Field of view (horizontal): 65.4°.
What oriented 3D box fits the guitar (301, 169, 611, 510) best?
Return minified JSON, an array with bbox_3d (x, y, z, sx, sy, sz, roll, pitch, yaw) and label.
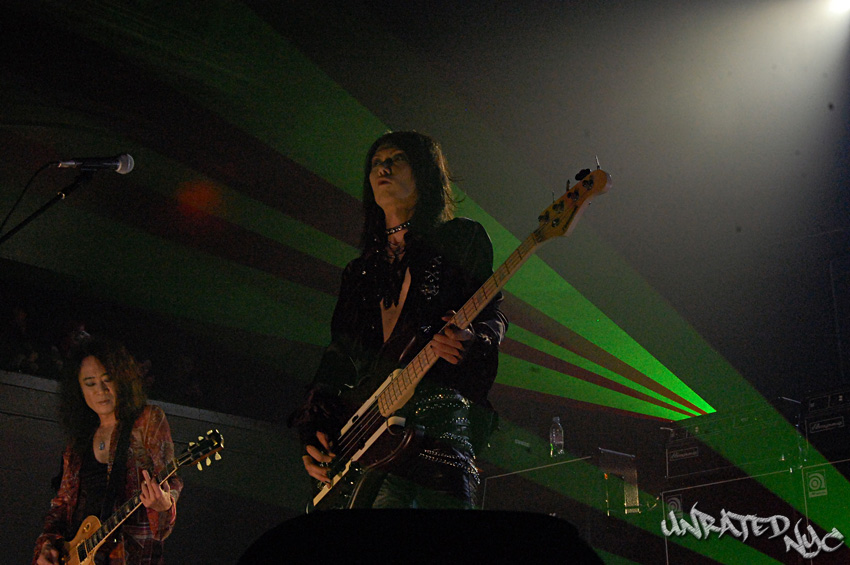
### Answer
[{"bbox_3d":[0.248,0.333,4.990,0.517,3.796,0.399,26,15,-48],"label":"guitar"}]
